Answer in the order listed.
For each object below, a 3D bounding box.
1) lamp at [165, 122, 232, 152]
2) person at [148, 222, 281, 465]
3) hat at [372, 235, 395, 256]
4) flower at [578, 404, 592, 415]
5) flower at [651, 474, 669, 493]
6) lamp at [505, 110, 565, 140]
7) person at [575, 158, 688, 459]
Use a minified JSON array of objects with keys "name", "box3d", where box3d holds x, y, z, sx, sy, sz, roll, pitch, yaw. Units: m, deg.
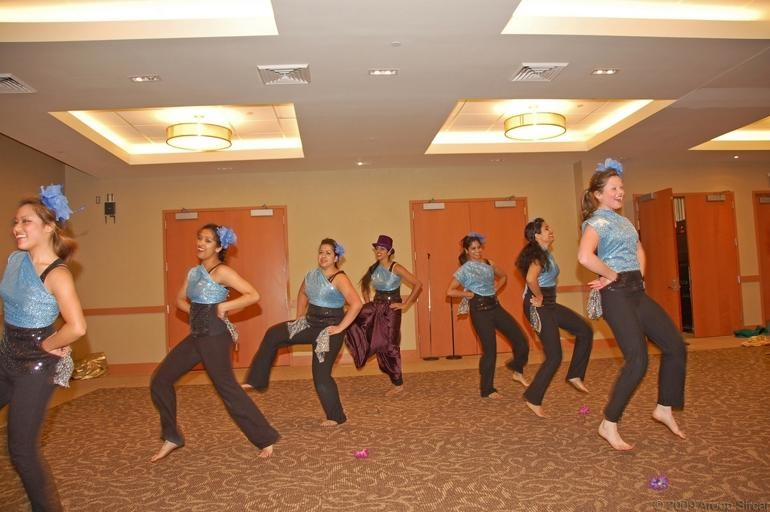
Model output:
[{"name":"lamp","box3d":[-2.865,-1.843,8.344,0.900,0.342,0.568,-4,5,-23]},{"name":"person","box3d":[-1.816,0.909,5.756,1.258,2.480,0.422,-2,5,2]},{"name":"hat","box3d":[0.012,-0.183,8.273,0.278,0.162,0.326,13,-12,27]},{"name":"flower","box3d":[2.372,1.841,6.481,0.102,0.055,0.098,-2,-3,-3]},{"name":"flower","box3d":[2.497,2.062,4.939,0.161,0.107,0.083,-4,5,-16]},{"name":"lamp","box3d":[2.335,-2.049,8.453,0.882,0.361,0.578,-2,5,9]},{"name":"person","box3d":[2.552,0.474,5.602,0.999,2.971,0.774,-1,6,22]}]
